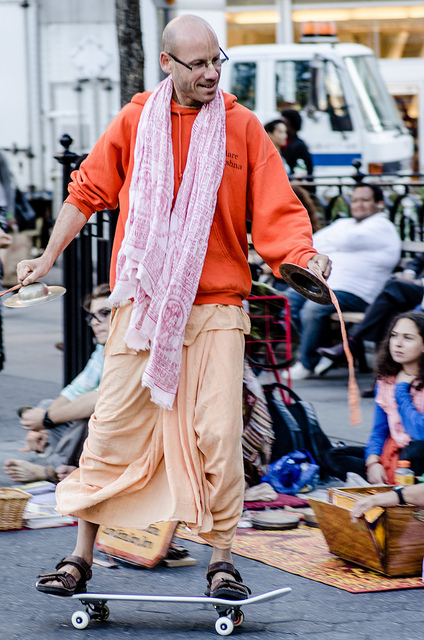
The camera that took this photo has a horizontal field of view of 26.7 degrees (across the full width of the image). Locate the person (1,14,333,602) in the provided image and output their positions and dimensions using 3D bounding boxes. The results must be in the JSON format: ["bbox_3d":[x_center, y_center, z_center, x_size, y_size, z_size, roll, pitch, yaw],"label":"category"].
[{"bbox_3d":[-0.103,-0.042,2.665,0.840,1.726,0.486,-1,6,-8],"label":"person"}]

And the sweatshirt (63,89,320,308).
[{"bbox_3d":[-0.063,-0.396,2.818,0.959,0.649,0.448,9,18,28],"label":"sweatshirt"}]

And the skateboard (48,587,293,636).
[{"bbox_3d":[-0.103,0.815,2.540,0.874,0.124,0.204,-1,-9,10],"label":"skateboard"}]

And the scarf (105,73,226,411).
[{"bbox_3d":[-0.109,-0.240,2.689,0.339,0.981,0.252,-3,7,-27],"label":"scarf"}]

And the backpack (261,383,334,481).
[{"bbox_3d":[0.430,0.548,4.357,0.414,0.360,0.402,-14,18,-36],"label":"backpack"}]

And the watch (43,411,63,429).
[{"bbox_3d":[-0.764,0.480,4.285,0.089,0.056,0.086,3,1,-33],"label":"watch"}]

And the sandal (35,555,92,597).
[{"bbox_3d":[-0.431,0.770,2.684,0.093,0.079,0.187,8,-11,22],"label":"sandal"}]
